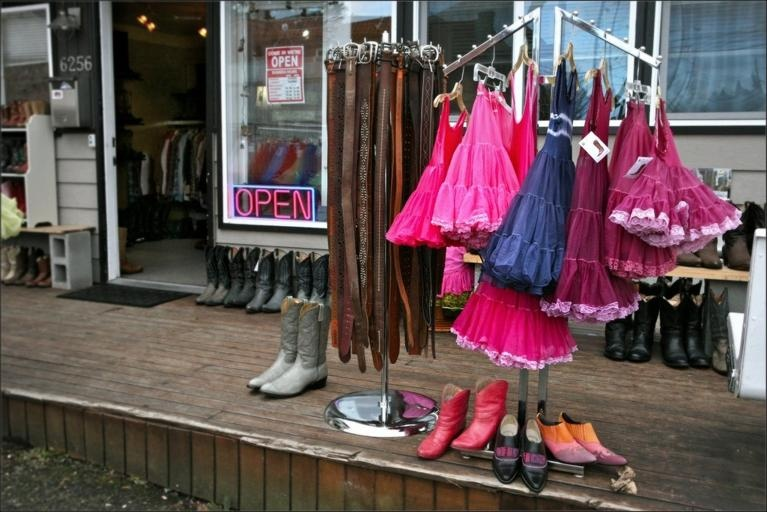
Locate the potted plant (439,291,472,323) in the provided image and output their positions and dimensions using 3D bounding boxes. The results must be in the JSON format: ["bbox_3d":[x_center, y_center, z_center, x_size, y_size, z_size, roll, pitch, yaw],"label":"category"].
[{"bbox_3d":[0.574,0.395,5.569,0.202,0.266,0.134,0,17,-9],"label":"potted plant"}]

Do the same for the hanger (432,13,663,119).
[{"bbox_3d":[1.064,-1.241,4.123,1.102,0.496,1.141,10,29,28],"label":"hanger"}]
